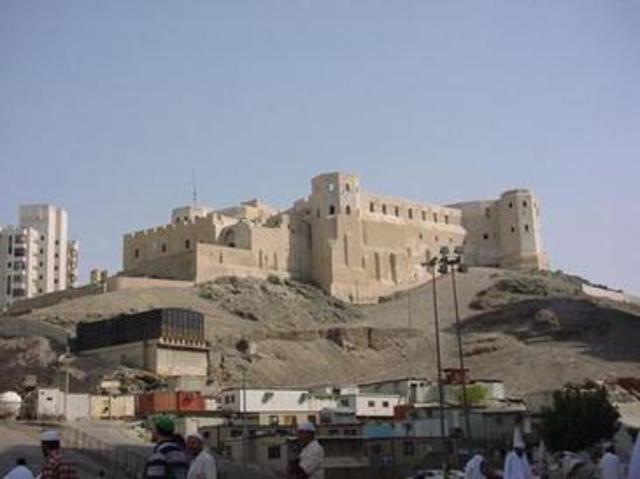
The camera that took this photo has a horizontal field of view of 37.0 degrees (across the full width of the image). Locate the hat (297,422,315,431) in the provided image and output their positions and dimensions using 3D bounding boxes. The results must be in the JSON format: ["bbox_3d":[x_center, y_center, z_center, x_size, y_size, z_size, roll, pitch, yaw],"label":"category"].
[{"bbox_3d":[-0.515,5.809,29.705,0.320,0.222,0.444,10,-12,-38],"label":"hat"}]

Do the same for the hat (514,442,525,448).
[{"bbox_3d":[6.640,6.889,32.054,0.240,0.114,0.316,4,-11,-8],"label":"hat"}]

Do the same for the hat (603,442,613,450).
[{"bbox_3d":[9.730,7.047,32.508,0.271,0.079,0.266,-10,-3,15],"label":"hat"}]
